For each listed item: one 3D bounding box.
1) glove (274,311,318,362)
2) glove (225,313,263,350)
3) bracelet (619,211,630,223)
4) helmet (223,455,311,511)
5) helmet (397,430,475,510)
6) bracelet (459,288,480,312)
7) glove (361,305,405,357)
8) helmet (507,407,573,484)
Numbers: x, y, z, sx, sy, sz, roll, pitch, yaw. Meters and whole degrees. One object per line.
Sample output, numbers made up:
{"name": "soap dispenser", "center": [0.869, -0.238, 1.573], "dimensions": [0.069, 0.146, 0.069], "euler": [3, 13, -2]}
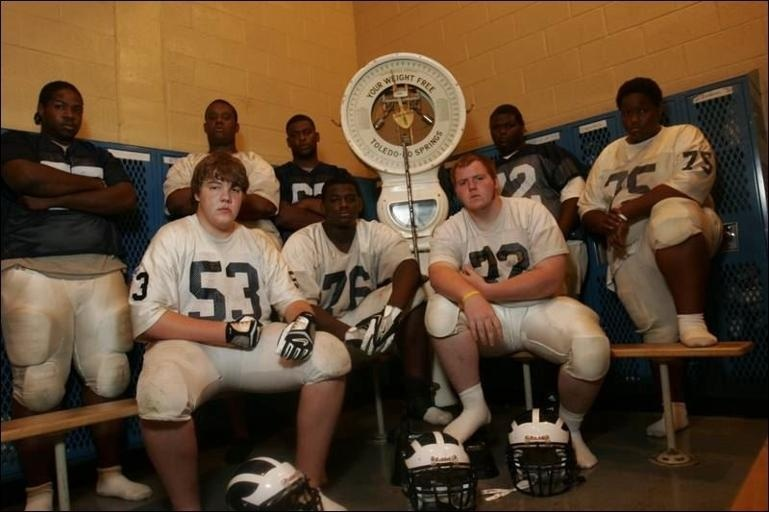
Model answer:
{"name": "glove", "center": [-0.437, 0.396, 3.165], "dimensions": [0.145, 0.237, 0.086], "euler": [28, -37, -22]}
{"name": "glove", "center": [-0.700, 0.377, 3.141], "dimensions": [0.250, 0.079, 0.102], "euler": [-6, -14, -15]}
{"name": "bracelet", "center": [1.443, -0.242, 3.883], "dimensions": [0.050, 0.060, 0.124], "euler": [-2, 5, 32]}
{"name": "helmet", "center": [-0.527, 1.021, 2.895], "dimensions": [0.337, 0.167, 0.215], "euler": [-1, -4, 12]}
{"name": "helmet", "center": [0.238, 1.004, 2.965], "dimensions": [0.280, 0.270, 0.351], "euler": [0, -18, -3]}
{"name": "bracelet", "center": [0.458, 0.230, 3.468], "dimensions": [0.104, 0.102, 0.067], "euler": [-4, 4, 2]}
{"name": "glove", "center": [-0.048, 0.386, 3.547], "dimensions": [0.113, 0.240, 0.254], "euler": [31, 44, 16]}
{"name": "helmet", "center": [0.752, 0.929, 3.093], "dimensions": [0.278, 0.282, 0.375], "euler": [-4, -12, 13]}
